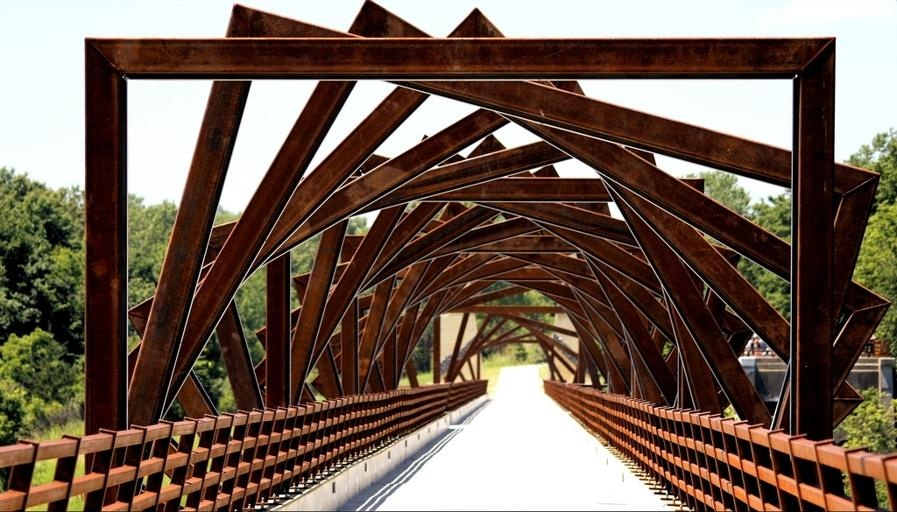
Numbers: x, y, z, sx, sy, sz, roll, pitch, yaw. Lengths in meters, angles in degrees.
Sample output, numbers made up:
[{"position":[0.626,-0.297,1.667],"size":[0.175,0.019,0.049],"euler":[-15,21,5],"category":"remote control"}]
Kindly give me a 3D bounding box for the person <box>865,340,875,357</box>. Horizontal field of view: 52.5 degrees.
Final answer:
[{"position":[22.133,4.854,47.361],"size":[0.440,0.907,1.393],"euler":[-2,-4,24],"category":"person"}]
